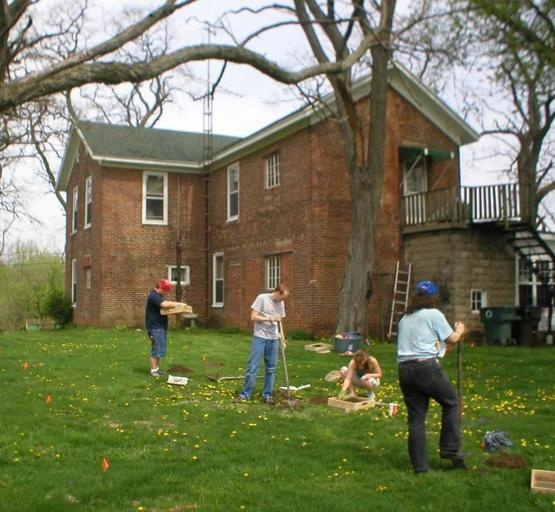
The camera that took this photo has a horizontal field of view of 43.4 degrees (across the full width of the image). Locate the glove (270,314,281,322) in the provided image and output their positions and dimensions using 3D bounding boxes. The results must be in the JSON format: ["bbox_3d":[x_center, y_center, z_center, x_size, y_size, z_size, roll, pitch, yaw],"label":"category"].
[{"bbox_3d":[-0.022,1.007,11.303,0.173,0.119,0.115,-2,-2,22],"label":"glove"}]

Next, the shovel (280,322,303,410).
[{"bbox_3d":[0.205,1.821,11.895,0.294,1.263,0.405,3,-1,-4],"label":"shovel"}]

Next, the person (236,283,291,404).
[{"bbox_3d":[-0.189,1.431,11.448,0.712,2.035,0.531,2,9,-22],"label":"person"}]

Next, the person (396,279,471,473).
[{"bbox_3d":[1.762,1.371,7.980,0.743,2.187,0.359,0,-5,13],"label":"person"}]

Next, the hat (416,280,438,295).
[{"bbox_3d":[1.778,0.376,8.193,0.196,0.162,0.312,2,5,25],"label":"hat"}]

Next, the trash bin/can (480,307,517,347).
[{"bbox_3d":[6.128,1.848,19.208,0.734,1.255,0.904,1,-1,-14],"label":"trash bin/can"}]

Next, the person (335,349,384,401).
[{"bbox_3d":[1.406,2.005,11.786,0.662,0.801,1.093,0,-6,8],"label":"person"}]
